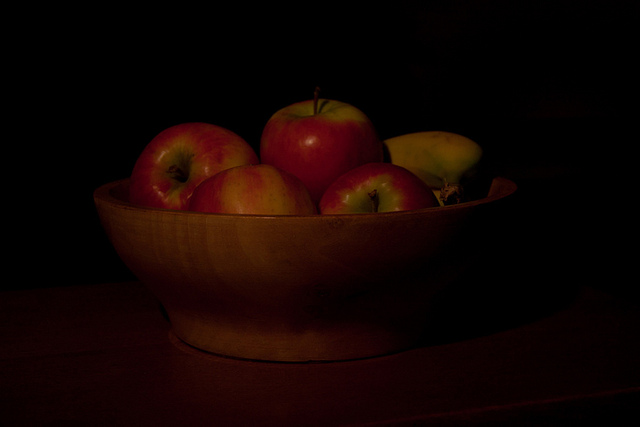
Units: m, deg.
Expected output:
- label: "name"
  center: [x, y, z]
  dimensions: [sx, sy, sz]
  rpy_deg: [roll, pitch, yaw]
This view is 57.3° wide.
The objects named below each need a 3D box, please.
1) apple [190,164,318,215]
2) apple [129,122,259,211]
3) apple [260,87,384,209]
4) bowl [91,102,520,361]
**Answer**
- label: "apple"
  center: [-0.097, -0.030, 0.910]
  dimensions: [0.119, 0.070, 0.096]
  rpy_deg: [4, -3, -1]
- label: "apple"
  center: [-0.232, -0.080, 1.062]
  dimensions: [0.165, 0.161, 0.167]
  rpy_deg: [11, -4, 15]
- label: "apple"
  center: [0.008, -0.125, 1.070]
  dimensions: [0.179, 0.151, 0.178]
  rpy_deg: [4, 27, 16]
- label: "bowl"
  center: [0.008, 0.008, 0.961]
  dimensions: [0.696, 0.318, 0.399]
  rpy_deg: [-2, 23, -21]
